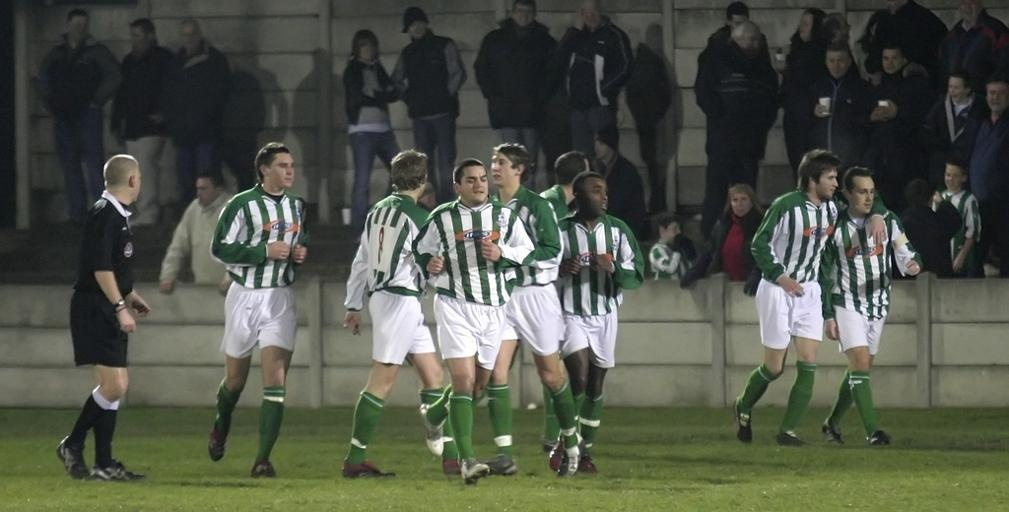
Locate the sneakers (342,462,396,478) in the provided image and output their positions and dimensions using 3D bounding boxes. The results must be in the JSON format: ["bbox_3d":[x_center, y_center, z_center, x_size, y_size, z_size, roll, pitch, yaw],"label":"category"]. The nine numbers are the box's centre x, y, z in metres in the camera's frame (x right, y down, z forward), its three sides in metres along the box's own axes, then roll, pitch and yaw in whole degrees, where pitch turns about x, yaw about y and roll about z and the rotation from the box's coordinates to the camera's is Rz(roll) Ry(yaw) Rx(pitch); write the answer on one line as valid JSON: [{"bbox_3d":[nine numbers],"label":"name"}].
[{"bbox_3d":[-1.742,2.726,23.625,0.617,0.230,0.227,2,0,-10],"label":"sneakers"}]

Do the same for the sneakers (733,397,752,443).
[{"bbox_3d":[3.209,2.228,24.721,0.199,0.606,0.255,-2,13,4],"label":"sneakers"}]

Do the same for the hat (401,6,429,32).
[{"bbox_3d":[-1.329,-3.474,27.165,0.407,0.272,0.280,-9,-1,4],"label":"hat"}]

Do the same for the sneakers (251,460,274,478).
[{"bbox_3d":[-3.106,2.789,23.589,0.197,0.240,0.254,11,-35,-17],"label":"sneakers"}]

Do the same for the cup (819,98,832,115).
[{"bbox_3d":[4.663,-2.165,26.734,0.201,0.217,0.191,1,1,0],"label":"cup"}]

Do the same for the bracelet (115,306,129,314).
[{"bbox_3d":[-4.843,0.703,23.257,0.166,0.061,0.070,-6,-8,0],"label":"bracelet"}]

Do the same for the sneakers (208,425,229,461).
[{"bbox_3d":[-3.725,2.418,23.828,0.196,0.587,0.245,0,6,-25],"label":"sneakers"}]

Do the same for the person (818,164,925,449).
[{"bbox_3d":[4.863,0.695,24.586,1.221,3.674,0.765,1,-2,6],"label":"person"}]

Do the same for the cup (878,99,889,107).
[{"bbox_3d":[5.494,-2.182,26.573,0.143,0.091,0.052,2,-2,-11],"label":"cup"}]

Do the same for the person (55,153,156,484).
[{"bbox_3d":[-5.076,0.793,23.446,0.948,4.140,0.502,2,-2,-9],"label":"person"}]

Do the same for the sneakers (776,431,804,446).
[{"bbox_3d":[3.821,2.449,24.558,0.336,0.152,0.159,0,11,7],"label":"sneakers"}]

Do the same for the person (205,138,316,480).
[{"bbox_3d":[-3.176,0.701,23.653,1.176,4.267,0.498,2,-2,-8],"label":"person"}]

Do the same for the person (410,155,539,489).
[{"bbox_3d":[-0.438,0.839,23.234,1.358,4.051,0.321,1,-2,-1],"label":"person"}]

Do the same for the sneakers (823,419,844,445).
[{"bbox_3d":[4.421,2.370,24.667,0.160,0.193,0.433,9,38,-32],"label":"sneakers"}]
